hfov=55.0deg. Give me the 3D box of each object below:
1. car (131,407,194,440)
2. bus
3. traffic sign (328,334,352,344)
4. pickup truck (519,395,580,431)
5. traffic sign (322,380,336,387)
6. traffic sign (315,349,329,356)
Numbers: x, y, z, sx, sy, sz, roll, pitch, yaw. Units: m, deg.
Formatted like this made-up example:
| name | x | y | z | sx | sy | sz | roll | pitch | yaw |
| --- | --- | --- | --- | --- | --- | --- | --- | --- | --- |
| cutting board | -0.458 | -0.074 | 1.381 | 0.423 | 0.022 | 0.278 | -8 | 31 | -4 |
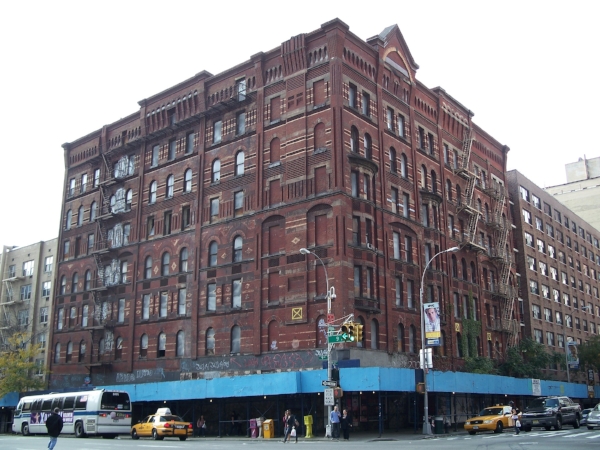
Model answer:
| name | x | y | z | sx | sy | sz | roll | pitch | yaw |
| --- | --- | --- | --- | --- | --- | --- | --- | --- | --- |
| car | -10.823 | 15.579 | 44.804 | 2.221 | 1.973 | 4.899 | 23 | -30 | -38 |
| bus | -20.162 | 16.665 | 50.305 | 14.556 | 4.187 | 3.594 | -22 | -30 | 37 |
| traffic sign | 2.747 | 7.887 | 39.945 | 1.240 | 0.357 | 1.366 | -7 | -12 | 33 |
| pickup truck | 19.090 | 14.389 | 43.969 | 5.050 | 2.552 | 2.565 | 17 | -30 | -38 |
| traffic sign | 2.045 | 11.156 | 40.678 | 0.728 | 0.529 | 1.650 | -8 | -24 | 12 |
| traffic sign | 1.796 | 10.449 | 46.651 | 0.992 | 0.261 | 1.077 | -2 | -5 | 13 |
